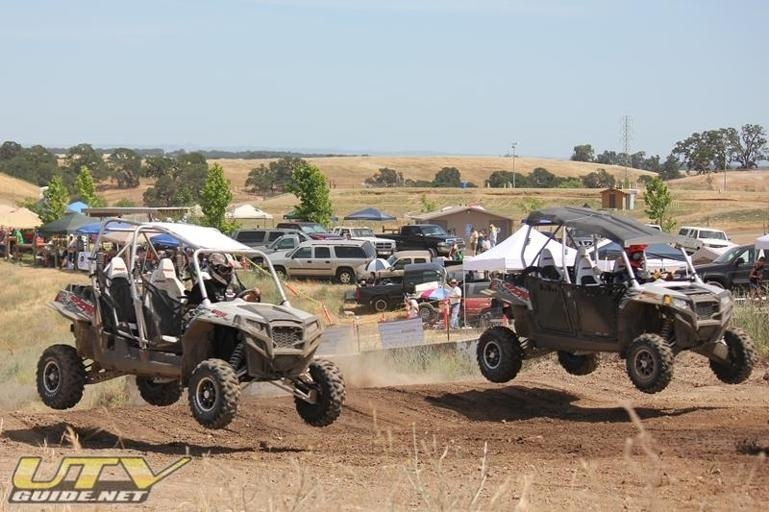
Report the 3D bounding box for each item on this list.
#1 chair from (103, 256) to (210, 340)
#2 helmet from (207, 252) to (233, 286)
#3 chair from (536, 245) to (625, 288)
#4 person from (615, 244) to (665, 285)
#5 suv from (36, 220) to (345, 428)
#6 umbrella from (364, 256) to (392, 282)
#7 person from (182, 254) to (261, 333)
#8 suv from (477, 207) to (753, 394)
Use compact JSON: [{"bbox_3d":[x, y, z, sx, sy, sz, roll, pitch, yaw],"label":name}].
[{"bbox_3d":[-3.901,0.785,14.685,1.459,1.626,2.026,1,-6,-39],"label":"chair"},{"bbox_3d":[-3.076,0.197,14.705,0.596,0.527,0.462,8,-3,32],"label":"helmet"},{"bbox_3d":[4.021,0.208,16.790,1.481,0.597,0.849,0,5,21],"label":"chair"},{"bbox_3d":[5.055,0.235,16.206,0.646,0.860,0.954,-1,9,31],"label":"person"},{"bbox_3d":[-3.733,1.187,14.998,5.619,3.324,3.138,-2,-8,39],"label":"suv"},{"bbox_3d":[-0.356,0.515,32.624,0.991,0.503,0.961,-20,10,-9],"label":"umbrella"},{"bbox_3d":[-3.075,0.514,14.589,1.098,1.361,1.534,-2,-1,-39],"label":"person"},{"bbox_3d":[4.734,0.930,16.736,3.370,3.185,4.912,1,-2,-33],"label":"suv"}]
